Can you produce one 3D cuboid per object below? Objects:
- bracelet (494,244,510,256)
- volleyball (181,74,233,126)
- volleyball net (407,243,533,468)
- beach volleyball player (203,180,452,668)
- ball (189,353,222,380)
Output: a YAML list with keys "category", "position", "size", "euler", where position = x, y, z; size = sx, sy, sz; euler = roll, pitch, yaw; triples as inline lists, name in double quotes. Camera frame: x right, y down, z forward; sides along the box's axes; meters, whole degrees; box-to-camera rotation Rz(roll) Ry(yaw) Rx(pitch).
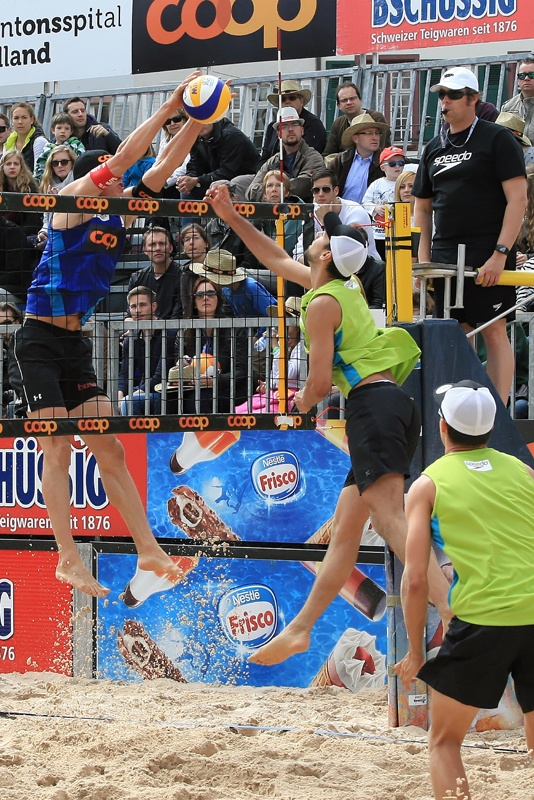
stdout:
- category: "bracelet"
  position: [1.195, -0.763, 5.391]
  size: [0.079, 0.043, 0.071]
  euler: [15, -6, -5]
- category: "volleyball"
  position: [-0.272, -1.345, 4.696]
  size: [0.212, 0.228, 0.165]
  euler: [-1, -3, 13]
- category: "volleyball net"
  position: [1.003, -0.211, 5.145]
  size: [0.516, 1.023, 0.557]
  euler: [-8, 20, -30]
- category: "beach volleyball player"
  position: [0.262, 0.072, 4.599]
  size: [0.906, 1.927, 0.666]
  euler: [0, 1, 16]
- category: "ball"
  position: [-0.342, -0.191, 6.070]
  size: [0.170, 0.152, 0.127]
  euler: [-4, 31, -16]
